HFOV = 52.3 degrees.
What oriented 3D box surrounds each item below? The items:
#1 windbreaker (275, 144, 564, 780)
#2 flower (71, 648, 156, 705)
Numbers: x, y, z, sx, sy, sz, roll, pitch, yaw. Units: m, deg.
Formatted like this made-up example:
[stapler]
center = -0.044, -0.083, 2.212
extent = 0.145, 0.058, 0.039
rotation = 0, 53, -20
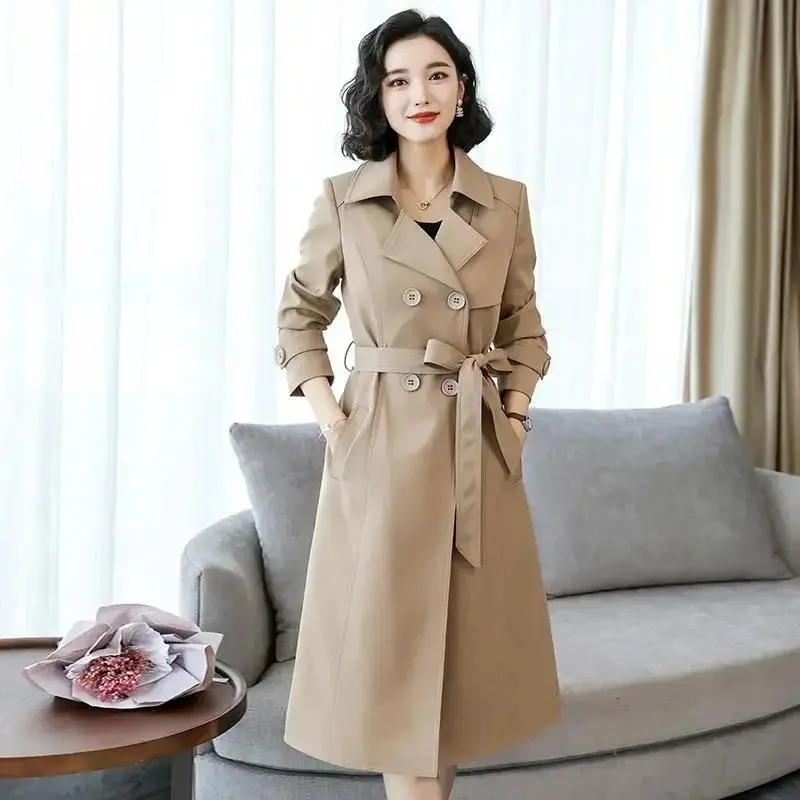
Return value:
[windbreaker]
center = 0.049, 0.064, 1.356
extent = 0.515, 0.967, 0.470
rotation = 4, 10, -10
[flower]
center = -0.459, 0.443, 1.325
extent = 0.062, 0.044, 0.087
rotation = -27, -5, -11
